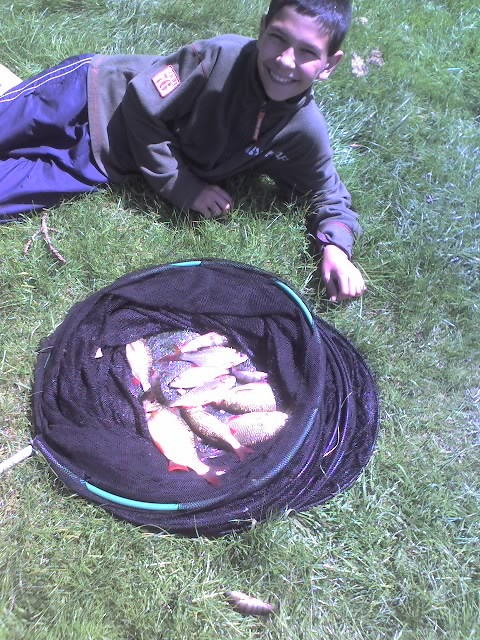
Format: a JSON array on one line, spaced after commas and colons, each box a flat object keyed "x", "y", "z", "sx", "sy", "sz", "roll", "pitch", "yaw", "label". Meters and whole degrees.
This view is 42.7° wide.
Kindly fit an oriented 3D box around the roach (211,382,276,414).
[{"x": 0.022, "y": 0.213, "z": 1.715, "sx": 0.142, "sy": 0.050, "sz": 0.076, "roll": -4, "pitch": 32, "yaw": -12, "label": "roach"}]

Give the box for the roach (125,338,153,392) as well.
[{"x": -0.283, "y": 0.120, "z": 1.724, "sx": 0.089, "sy": 0.030, "sz": 0.126, "roll": -13, "pitch": 81, "yaw": 2, "label": "roach"}]

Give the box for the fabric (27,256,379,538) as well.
[{"x": -0.069, "y": 0.184, "z": 1.608, "sx": 0.909, "sy": 0.427, "sz": 0.645, "roll": -4, "pitch": 40, "yaw": -17, "label": "fabric"}]

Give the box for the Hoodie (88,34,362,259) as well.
[{"x": -0.192, "y": -0.665, "z": 1.968, "sx": 1.012, "sy": 0.381, "sz": 0.500, "roll": 36, "pitch": 44, "yaw": 29, "label": "Hoodie"}]
